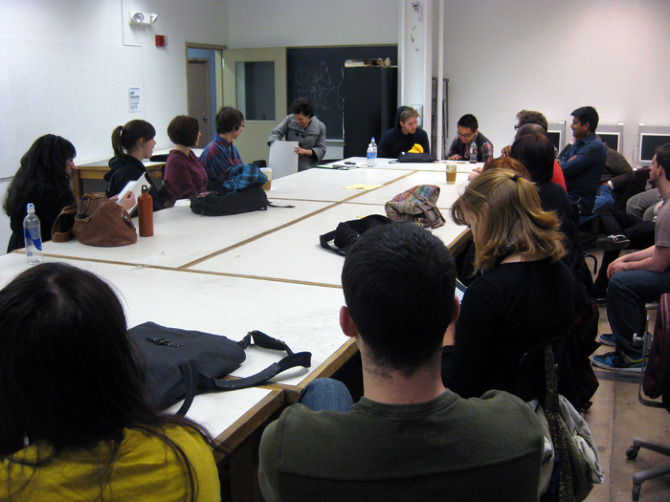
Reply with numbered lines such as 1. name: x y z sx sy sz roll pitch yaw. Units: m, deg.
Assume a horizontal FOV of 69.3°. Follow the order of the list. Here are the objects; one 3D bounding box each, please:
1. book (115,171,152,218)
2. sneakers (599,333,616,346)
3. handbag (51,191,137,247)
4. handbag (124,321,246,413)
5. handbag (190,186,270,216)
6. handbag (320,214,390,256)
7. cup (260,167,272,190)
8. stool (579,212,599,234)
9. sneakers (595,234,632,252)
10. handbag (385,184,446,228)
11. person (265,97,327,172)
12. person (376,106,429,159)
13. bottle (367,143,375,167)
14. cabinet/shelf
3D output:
1. book: -1.253 -0.366 3.054 0.242 0.068 0.255 -22 24 44
2. sneakers: 2.023 0.671 3.609 0.099 0.073 0.162 5 16 25
3. handbag: -1.428 -0.175 2.841 0.385 0.185 0.325 7 12 23
4. handbag: -0.432 0.320 1.461 0.288 0.093 0.286 -15 28 -41
5. handbag: -0.756 -0.364 3.548 0.369 0.154 0.267 -6 9 -24
6. handbag: 0.126 -0.120 2.819 0.303 0.125 0.240 -21 22 -36
7. cup: -0.597 -0.618 4.277 0.085 0.190 0.390 -4 15 -8
8. stool: 2.357 -0.245 4.492 0.150 0.199 0.167 13 27 38
9. sneakers: 2.246 -0.067 3.942 0.330 0.140 0.127 -1 16 -18
10. handbag: 0.496 -0.258 3.043 0.387 0.226 0.307 -1 9 32
11. person: -0.489 -1.323 6.396 0.676 1.326 0.603 -9 35 -20
12. person: 0.919 -1.465 6.501 0.736 0.927 0.544 0 41 5
13. bottle: 0.442 -1.160 5.840 0.103 0.284 0.275 -2 14 2
14. cabinet/shelf: 0.347 -2.181 8.019 0.513 1.677 0.660 13 7 -21
